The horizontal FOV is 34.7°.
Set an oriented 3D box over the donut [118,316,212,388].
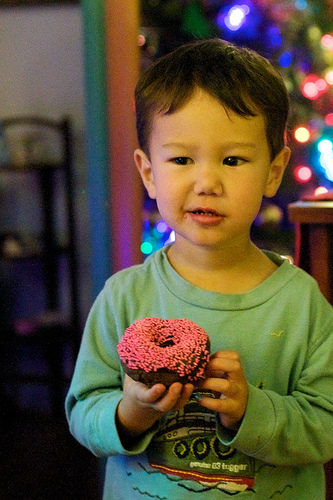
[{"bbox_3d":[-0.005,0.143,0.769,0.109,0.037,0.094,1,30,-1],"label":"donut"}]
